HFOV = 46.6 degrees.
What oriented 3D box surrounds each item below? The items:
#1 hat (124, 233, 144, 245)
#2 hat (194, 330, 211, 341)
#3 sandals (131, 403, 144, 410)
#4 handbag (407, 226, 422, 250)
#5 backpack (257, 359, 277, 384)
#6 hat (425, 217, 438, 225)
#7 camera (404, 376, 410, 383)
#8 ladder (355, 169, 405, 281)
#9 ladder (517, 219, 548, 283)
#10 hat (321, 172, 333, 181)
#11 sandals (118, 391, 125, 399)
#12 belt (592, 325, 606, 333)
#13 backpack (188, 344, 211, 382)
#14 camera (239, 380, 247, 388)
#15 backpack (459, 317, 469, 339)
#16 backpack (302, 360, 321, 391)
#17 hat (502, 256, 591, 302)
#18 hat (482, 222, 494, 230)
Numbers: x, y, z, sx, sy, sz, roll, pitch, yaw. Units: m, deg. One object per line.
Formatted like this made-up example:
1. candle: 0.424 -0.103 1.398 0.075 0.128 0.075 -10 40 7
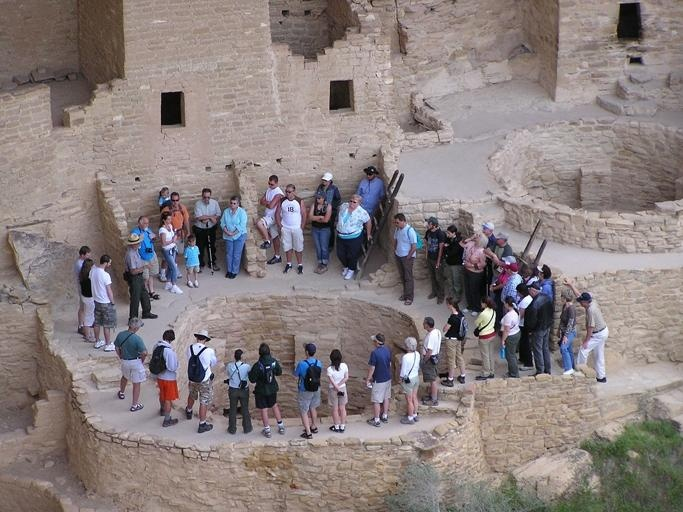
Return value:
1. hat: -4.295 -0.359 16.536 0.200 0.231 0.393 -1 11 14
2. hat: -2.717 1.531 15.349 0.400 0.158 0.441 11 -11 -1
3. sandals: -3.854 2.851 14.957 0.202 0.087 0.097 -15 23 -26
4. handbag: 1.667 -0.414 17.559 0.288 0.637 0.787 -3 11 6
5. backpack: -1.263 2.040 13.813 0.331 0.456 0.161 -12 13 -36
6. hat: 2.019 -0.787 17.171 0.224 0.218 0.180 10 -9 -20
7. camera: 1.191 2.213 14.145 0.092 0.171 0.092 0 -6 10
8. ladder: 0.932 -0.688 18.717 0.369 2.755 0.291 24 4 42
9. ladder: 4.124 -0.088 16.870 0.394 1.342 0.341 21 -26 8
10. hat: -0.303 -1.922 19.116 0.196 0.149 0.268 2 -1 25
11. sandals: -4.265 2.671 15.288 0.139 0.173 0.127 -6 11 -11
12. belt: 5.179 1.418 15.776 0.184 0.136 0.188 2 12 30
13. backpack: -2.559 1.904 14.020 0.427 0.728 0.157 -1 11 16
14. camera: -1.731 2.244 13.931 0.111 0.160 0.085 2 20 -3
15. backpack: 2.289 1.318 14.696 0.117 0.463 0.267 0 11 19
16. backpack: -0.504 2.119 13.796 0.263 0.602 0.276 -8 11 -19
17. hat: 4.012 0.169 15.580 1.229 0.452 0.952 28 15 22
18. hat: 3.090 -0.639 16.624 0.279 0.149 0.201 4 2 17
